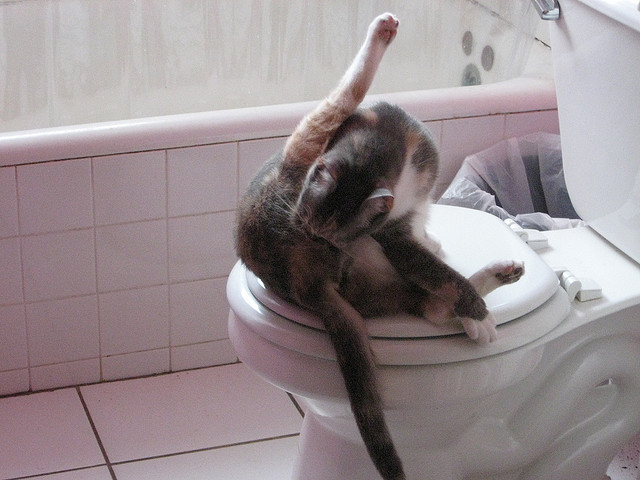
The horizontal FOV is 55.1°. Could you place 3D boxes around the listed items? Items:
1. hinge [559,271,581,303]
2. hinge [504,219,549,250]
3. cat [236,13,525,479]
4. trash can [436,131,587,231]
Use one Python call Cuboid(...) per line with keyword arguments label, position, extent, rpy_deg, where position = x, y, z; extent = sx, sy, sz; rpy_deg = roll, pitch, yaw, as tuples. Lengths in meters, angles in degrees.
Cuboid(label="hinge", position=(0.361, 0.067, 0.893), extent=(0.023, 0.043, 0.040), rpy_deg=(-10, 21, 4))
Cuboid(label="hinge", position=(0.347, -0.016, 1.004), extent=(0.039, 0.027, 0.059), rpy_deg=(-8, 25, -2))
Cuboid(label="cat", position=(0.063, -0.005, 0.772), extent=(0.229, 0.458, 0.326), rpy_deg=(-25, 41, -33))
Cuboid(label="trash can", position=(0.442, -0.136, 1.390), extent=(0.245, 0.236, 0.274), rpy_deg=(-3, 32, 17))
